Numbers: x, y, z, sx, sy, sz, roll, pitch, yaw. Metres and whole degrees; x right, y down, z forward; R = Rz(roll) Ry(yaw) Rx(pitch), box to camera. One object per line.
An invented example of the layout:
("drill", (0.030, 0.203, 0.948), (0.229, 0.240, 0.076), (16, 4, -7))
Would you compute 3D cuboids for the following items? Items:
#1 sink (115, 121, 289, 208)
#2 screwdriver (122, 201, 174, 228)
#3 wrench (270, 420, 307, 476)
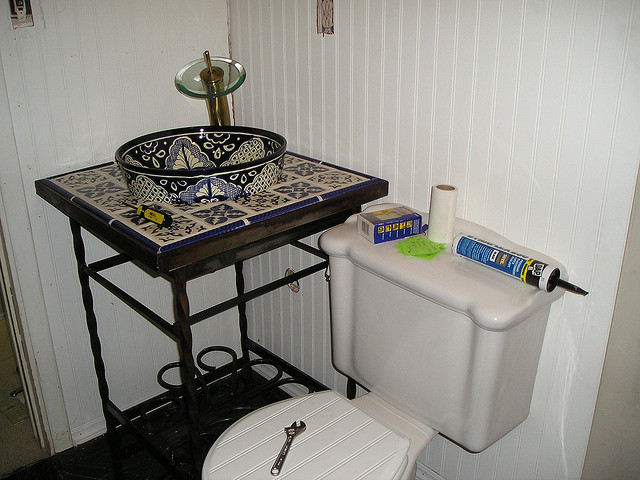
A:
("sink", (-0.347, -0.237, 1.516), (0.473, 0.152, 0.398), (-18, 30, -33))
("screwdriver", (-0.432, -0.067, 1.315), (0.137, 0.031, 0.038), (16, 30, 33))
("wrench", (-0.080, 0.502, 1.233), (0.050, 0.035, 0.146), (7, 26, 17))
